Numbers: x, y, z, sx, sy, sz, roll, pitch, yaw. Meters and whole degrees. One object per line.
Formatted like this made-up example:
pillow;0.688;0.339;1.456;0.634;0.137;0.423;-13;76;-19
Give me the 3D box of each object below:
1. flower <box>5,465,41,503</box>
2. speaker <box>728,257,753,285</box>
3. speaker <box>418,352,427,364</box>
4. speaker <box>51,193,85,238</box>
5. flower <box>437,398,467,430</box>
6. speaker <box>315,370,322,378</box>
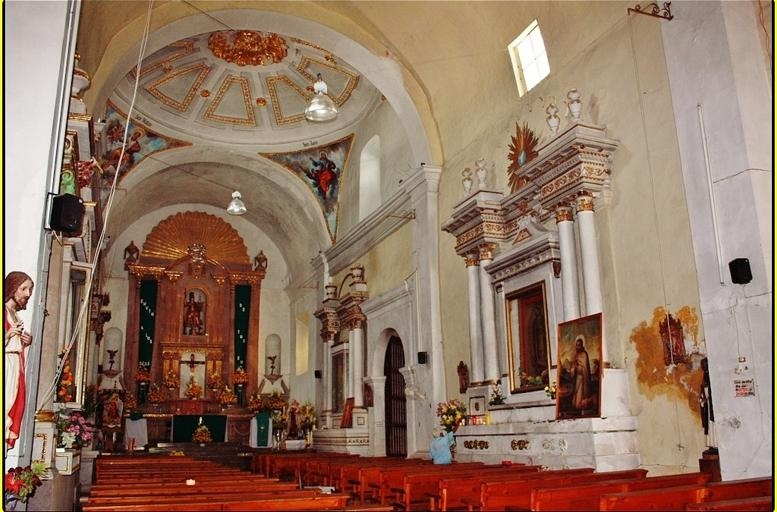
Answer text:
flower;-4.540;2.830;8.264;0.272;0.501;0.676;3;-20;-15
speaker;4.715;0.216;8.982;0.255;0.342;0.177;-16;-24;36
speaker;0.719;2.174;14.318;0.116;0.223;0.229;5;-11;-24
speaker;-4.195;-0.570;8.757;0.180;0.472;0.473;3;-2;15
flower;1.223;2.963;12.625;0.493;0.510;0.498;2;-6;-23
speaker;-2.030;3.411;19.396;0.130;0.262;0.257;7;-10;-42
